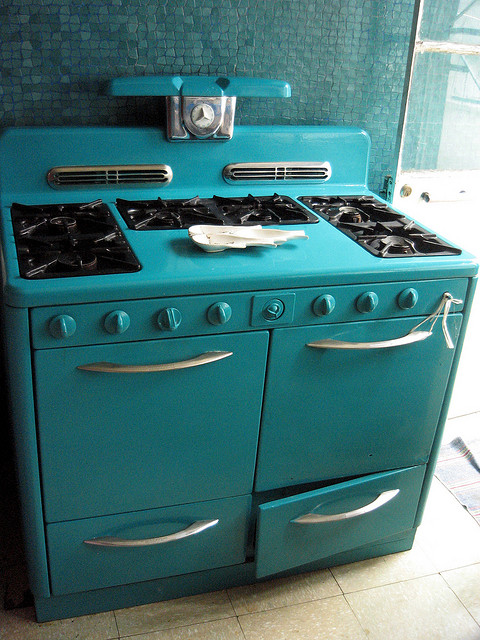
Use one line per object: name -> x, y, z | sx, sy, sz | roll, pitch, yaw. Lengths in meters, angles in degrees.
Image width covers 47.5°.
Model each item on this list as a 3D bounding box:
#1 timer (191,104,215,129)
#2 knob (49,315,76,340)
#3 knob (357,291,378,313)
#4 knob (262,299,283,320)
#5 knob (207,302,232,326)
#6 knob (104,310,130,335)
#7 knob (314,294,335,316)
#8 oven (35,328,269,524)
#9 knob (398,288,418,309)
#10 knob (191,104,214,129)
timer -> -0.099, -0.543, 1.446 | 0.060, 0.052, 0.021 | -11, 20, -19
knob -> -0.321, 0.010, 0.981 | 0.046, 0.042, 0.013 | -5, 27, -33
knob -> 0.275, -0.042, 1.190 | 0.046, 0.040, 0.014 | -7, 23, -13
knob -> 0.067, -0.023, 1.131 | 0.043, 0.046, 0.012 | -13, 35, -29
knob -> -0.043, -0.016, 1.084 | 0.048, 0.042, 0.014 | -5, 26, -22
knob -> -0.231, 0.002, 1.012 | 0.047, 0.041, 0.013 | -5, 24, -32
knob -> 0.176, -0.035, 1.159 | 0.047, 0.041, 0.014 | -5, 27, -26
oven -> -0.297, 0.274, 1.286 | 0.521, 0.430, 0.371 | 5, -11, -42
knob -> 0.373, -0.051, 1.223 | 0.047, 0.041, 0.013 | -7, 24, -12
knob -> -0.099, -0.543, 1.445 | 0.059, 0.051, 0.021 | -9, 20, -17
